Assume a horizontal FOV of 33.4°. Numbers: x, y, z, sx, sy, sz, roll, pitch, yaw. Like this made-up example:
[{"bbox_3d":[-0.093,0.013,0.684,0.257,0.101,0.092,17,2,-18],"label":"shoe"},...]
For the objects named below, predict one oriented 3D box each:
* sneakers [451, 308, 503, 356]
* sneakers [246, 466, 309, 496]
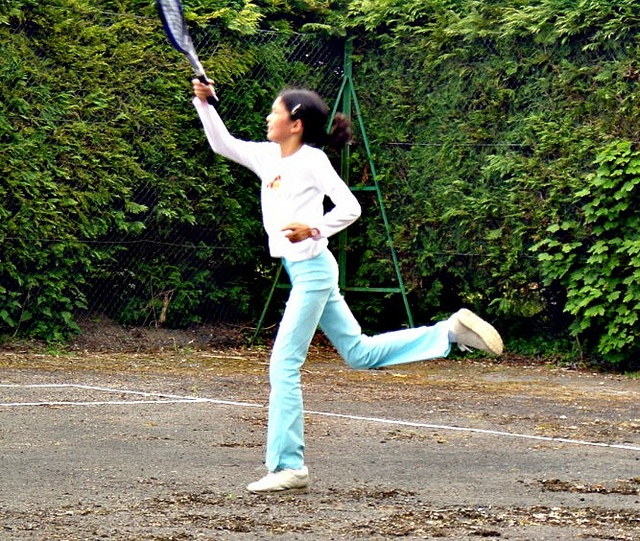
[{"bbox_3d":[1.019,0.418,7.151,0.436,0.151,0.284,28,-3,7],"label":"sneakers"},{"bbox_3d":[-0.251,1.345,6.779,0.475,0.121,0.136,0,0,-10],"label":"sneakers"}]
